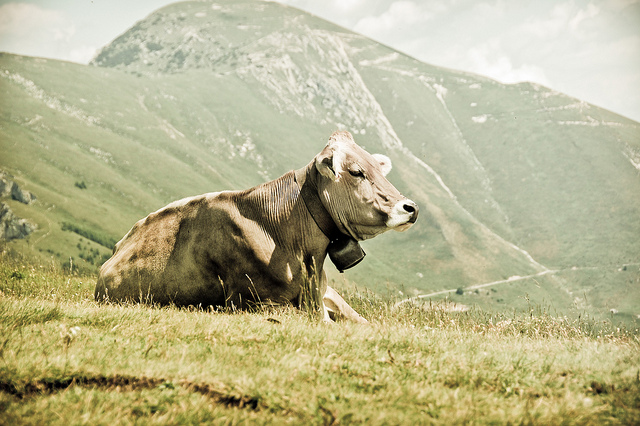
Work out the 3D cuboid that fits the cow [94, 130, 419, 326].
[{"bbox_3d":[-2.556,1.354,24.386,12.824,6.222,4.953,-4,-5,27],"label":"cow"}]
